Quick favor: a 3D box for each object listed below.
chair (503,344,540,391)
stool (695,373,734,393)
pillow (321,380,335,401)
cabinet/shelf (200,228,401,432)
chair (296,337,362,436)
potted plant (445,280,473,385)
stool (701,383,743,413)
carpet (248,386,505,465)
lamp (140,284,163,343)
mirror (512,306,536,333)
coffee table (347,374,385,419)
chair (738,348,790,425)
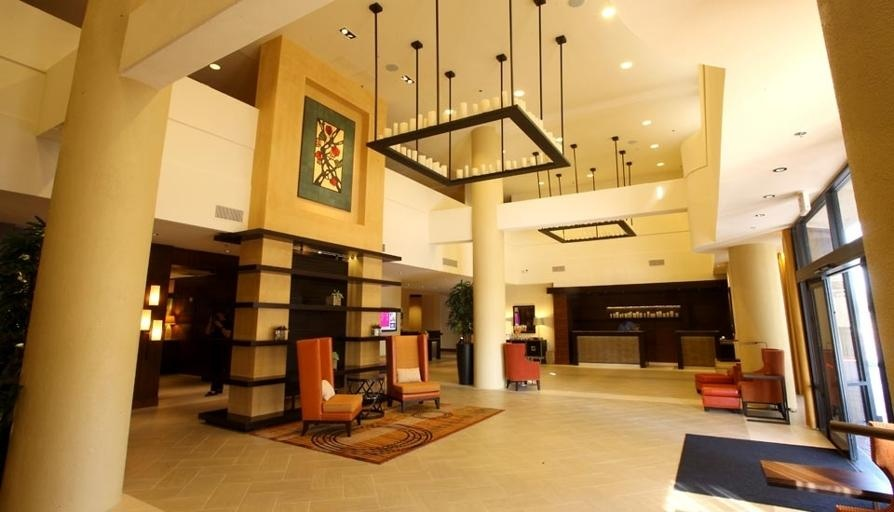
[{"bbox_3d":[1.874,2.824,13.601,1.009,0.981,0.964,-2,-14,16],"label":"chair"},{"bbox_3d":[6.041,2.803,12.054,0.830,0.475,0.577,-4,-20,15],"label":"stool"},{"bbox_3d":[-2.205,2.422,9.676,0.100,0.313,0.305,-22,-52,23],"label":"pillow"},{"bbox_3d":[-3.013,1.526,11.006,1.338,3.093,4.103,-3,-6,28],"label":"cabinet/shelf"},{"bbox_3d":[-2.196,2.349,9.707,1.063,1.714,0.702,1,-13,-9],"label":"chair"},{"bbox_3d":[0.393,2.063,14.719,0.619,2.830,1.255,0,-13,-4],"label":"potted plant"},{"bbox_3d":[5.707,2.942,11.048,0.761,0.534,0.436,-5,-13,18],"label":"stool"},{"bbox_3d":[-0.637,3.309,10.399,4.891,0.059,3.443,-28,-26,35],"label":"carpet"},{"bbox_3d":[-6.309,1.213,11.421,0.415,1.210,0.333,8,-15,-34],"label":"lamp"},{"bbox_3d":[2.832,2.301,19.502,1.085,1.127,0.086,-3,-4,41],"label":"mirror"},{"bbox_3d":[-1.758,3.049,11.619,1.072,0.704,1.027,-3,-8,24],"label":"coffee table"},{"bbox_3d":[6.517,2.638,11.085,0.948,1.294,1.067,0,-5,13],"label":"chair"}]
